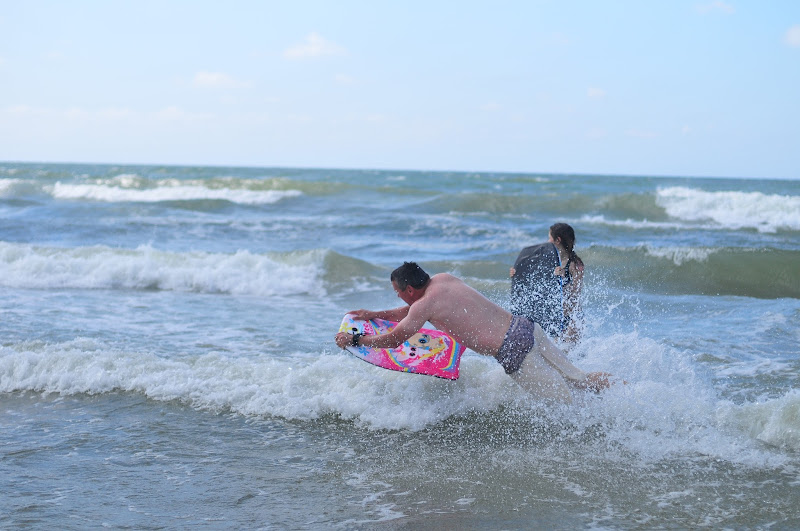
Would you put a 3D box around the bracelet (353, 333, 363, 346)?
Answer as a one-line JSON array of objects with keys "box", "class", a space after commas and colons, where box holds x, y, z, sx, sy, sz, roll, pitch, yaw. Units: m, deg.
[{"box": [-0.668, 1.121, 15.826, 0.136, 0.148, 0.059, -1, -10, 9], "class": "bracelet"}]

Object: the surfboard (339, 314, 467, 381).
[{"box": [-0.024, 1.251, 15.885, 1.896, 0.272, 0.871, 10, 40, -7], "class": "surfboard"}]
